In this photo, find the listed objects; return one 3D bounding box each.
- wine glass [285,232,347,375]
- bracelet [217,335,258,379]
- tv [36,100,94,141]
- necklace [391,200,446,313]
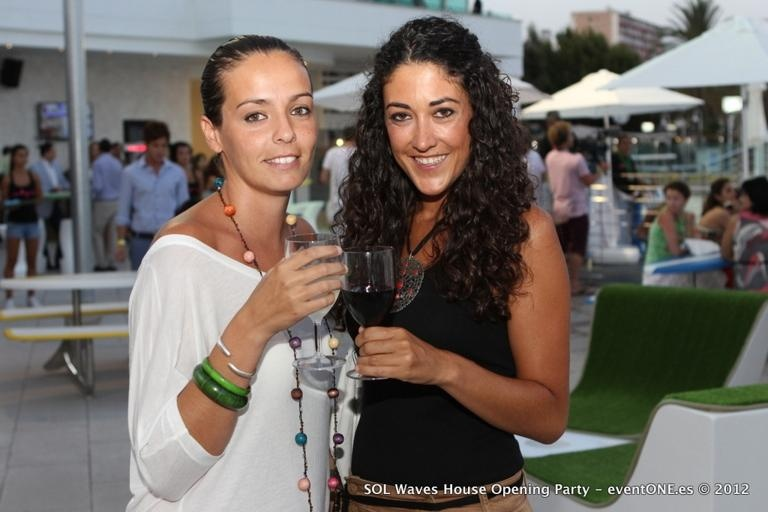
[{"bbox_3d":[-0.267,0.198,2.948,0.194,0.207,0.604,10,-35,8],"label":"wine glass"},{"bbox_3d":[-0.502,0.356,2.796,0.139,0.033,0.137,28,-27,49],"label":"bracelet"},{"bbox_3d":[-1.714,-0.723,4.185,0.291,0.231,0.034,-1,4,-11],"label":"tv"},{"bbox_3d":[0.142,0.006,3.234,0.178,0.424,0.034,15,-15,27],"label":"necklace"}]
